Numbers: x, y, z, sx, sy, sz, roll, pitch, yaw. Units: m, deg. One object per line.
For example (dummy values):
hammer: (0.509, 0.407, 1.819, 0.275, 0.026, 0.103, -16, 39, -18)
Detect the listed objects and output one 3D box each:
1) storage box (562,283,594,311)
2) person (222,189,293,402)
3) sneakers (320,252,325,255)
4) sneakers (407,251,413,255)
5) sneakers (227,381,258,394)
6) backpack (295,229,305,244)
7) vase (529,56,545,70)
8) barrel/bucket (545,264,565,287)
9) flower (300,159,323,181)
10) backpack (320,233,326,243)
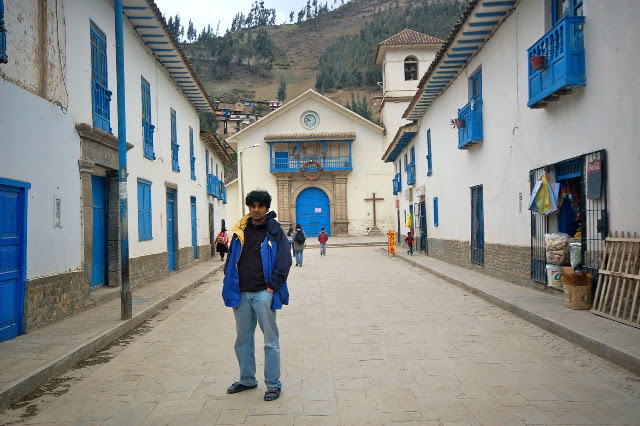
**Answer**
storage box: (5.542, 1.706, 10.936, 0.421, 0.517, 0.733, -1, -2, 10)
person: (-0.929, 1.207, 7.602, 1.003, 3.045, 0.745, -1, 6, 4)
sneakers: (0.207, 2.289, 28.512, 0.119, 0.209, 0.380, 2, -12, -17)
sneakers: (4.669, 2.130, 26.226, 0.268, 0.134, 0.183, 6, -8, -37)
sneakers: (-1.171, 2.677, 7.768, 0.458, 0.192, 0.157, 5, -11, -10)
backpack: (-0.838, 1.082, 21.773, 0.364, 0.544, 0.539, 1, -12, -2)
vase: (5.140, -3.524, 12.007, 0.301, 0.233, 0.300, 6, -7, -32)
barrel/bucket: (5.468, 1.509, 11.954, 0.426, 0.472, 0.437, 0, -2, 0)
flower: (-0.677, -3.647, 44.869, 1.672, 1.893, 0.614, -2, 6, -6)
backpack: (0.188, 1.414, 27.777, 0.459, 0.533, 0.280, 1, 4, 7)
